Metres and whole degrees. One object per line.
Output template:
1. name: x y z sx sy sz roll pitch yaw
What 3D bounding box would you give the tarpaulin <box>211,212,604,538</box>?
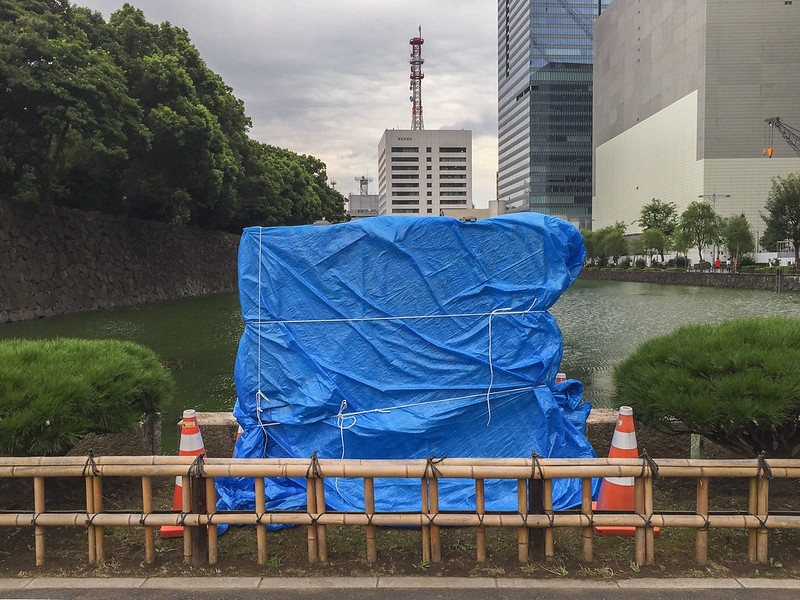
1. tarpaulin: 0.255 3.200 44.841 11.480 9.296 2.727 -1 0 -1

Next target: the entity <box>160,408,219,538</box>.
1. entity: -8.075 6.515 44.448 1.079 4.600 1.740 7 12 29

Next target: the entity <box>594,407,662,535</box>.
1. entity: 8.180 6.403 44.325 1.393 4.693 1.320 3 11 9
